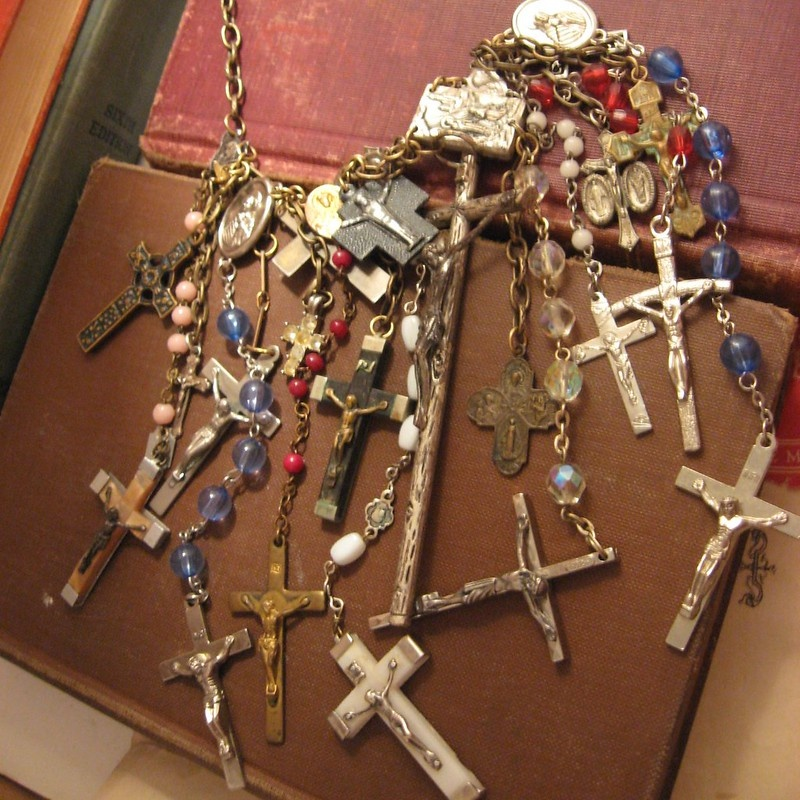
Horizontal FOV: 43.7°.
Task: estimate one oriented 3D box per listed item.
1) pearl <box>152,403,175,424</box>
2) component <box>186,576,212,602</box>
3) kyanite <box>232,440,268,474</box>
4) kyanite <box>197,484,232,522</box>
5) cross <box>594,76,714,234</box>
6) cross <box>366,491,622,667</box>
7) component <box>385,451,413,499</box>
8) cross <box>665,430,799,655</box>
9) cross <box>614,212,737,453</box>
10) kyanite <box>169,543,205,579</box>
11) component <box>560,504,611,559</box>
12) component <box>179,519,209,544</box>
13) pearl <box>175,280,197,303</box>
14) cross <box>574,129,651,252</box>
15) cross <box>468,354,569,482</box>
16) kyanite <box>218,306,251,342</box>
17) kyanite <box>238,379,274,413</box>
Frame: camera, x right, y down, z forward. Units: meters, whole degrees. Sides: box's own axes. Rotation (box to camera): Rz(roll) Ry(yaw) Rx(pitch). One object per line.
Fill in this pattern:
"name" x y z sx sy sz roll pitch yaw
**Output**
"pearl" -0.464 0.028 1.961 0.036 0.041 0.054 -8 -30 -3
"component" -0.374 0.355 1.876 0.018 0.027 0.045 50 8 -50
"kyanite" -0.271 0.104 1.834 0.048 0.054 0.066 -1 -27 -18
"kyanite" -0.340 0.190 1.844 0.047 0.054 0.067 -2 35 -6
"cross" 0.450 -0.415 1.722 0.166 0.275 0.028 -25 -15 14
"cross" 0.188 0.299 1.638 0.304 0.234 0.055 -21 -8 18
"component" 0.005 0.126 1.797 0.031 0.107 0.020 22 3 8
"cross" 0.548 0.242 1.655 0.183 0.363 0.047 24 1 29
"cross" 0.456 -0.117 1.667 0.205 0.280 0.109 19 11 23
"kyanite" -0.393 0.300 1.853 0.056 0.064 0.075 -2 -41 11
"component" 0.309 0.216 1.697 0.027 0.074 0.125 34 3 23
"component" -0.389 0.250 1.890 0.035 0.060 0.026 47 3 10
"pearl" -0.426 -0.218 1.993 0.037 0.049 0.039 10 8 -18
"cross" 0.382 -0.362 1.737 0.102 0.218 0.035 -17 -10 30
"cross" 0.212 0.038 1.709 0.176 0.253 0.018 4 -10 18
"kyanite" -0.317 -0.135 1.924 0.055 0.069 0.040 -21 -4 -5
"kyanite" -0.265 -0.010 1.845 0.053 0.076 0.058 1 2 16
